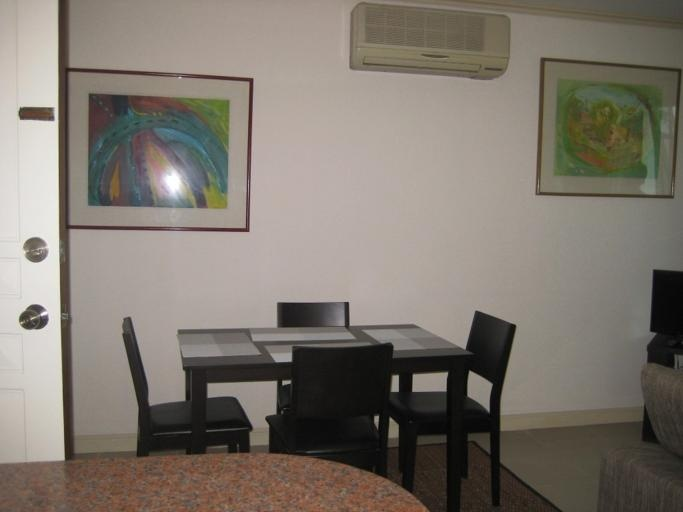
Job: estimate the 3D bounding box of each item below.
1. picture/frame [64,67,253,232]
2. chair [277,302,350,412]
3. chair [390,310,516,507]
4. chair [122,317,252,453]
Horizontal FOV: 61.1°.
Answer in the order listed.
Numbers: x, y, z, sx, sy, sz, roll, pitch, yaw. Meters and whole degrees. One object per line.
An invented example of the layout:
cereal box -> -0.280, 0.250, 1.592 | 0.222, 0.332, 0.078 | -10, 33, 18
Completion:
picture/frame -> -1.182, -0.683, 3.770 | 1.112, 1.085, 0.046 | -4, 32, -25
chair -> -0.180, 0.605, 3.656 | 0.485, 1.003, 0.605 | 0, 2, -6
chair -> 0.612, 0.889, 3.915 | 0.860, 1.695, 0.878 | 1, 0, -9
chair -> -0.818, 0.834, 3.134 | 0.633, 0.982, 0.566 | -1, 0, -12
